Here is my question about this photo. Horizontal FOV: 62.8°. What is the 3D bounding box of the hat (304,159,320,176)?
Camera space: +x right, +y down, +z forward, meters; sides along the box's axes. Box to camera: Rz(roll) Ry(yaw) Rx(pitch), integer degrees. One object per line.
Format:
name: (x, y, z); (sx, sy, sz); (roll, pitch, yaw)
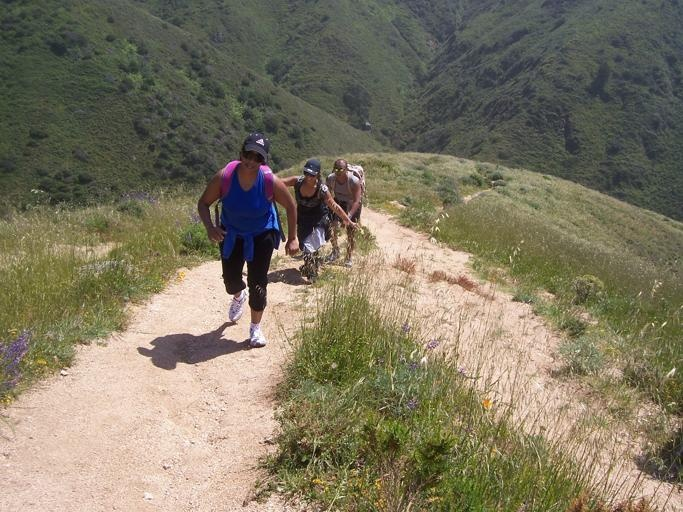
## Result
hat: (-0.475, -1.352, 8.685); (0.241, 0.263, 0.454); (7, 13, 7)

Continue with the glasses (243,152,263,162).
glasses: (-0.998, -1.108, 6.282); (0.220, 0.103, 0.106); (4, 13, -12)

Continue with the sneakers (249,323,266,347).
sneakers: (-1.060, 0.997, 7.000); (0.124, 0.195, 0.362); (-1, 3, -15)
